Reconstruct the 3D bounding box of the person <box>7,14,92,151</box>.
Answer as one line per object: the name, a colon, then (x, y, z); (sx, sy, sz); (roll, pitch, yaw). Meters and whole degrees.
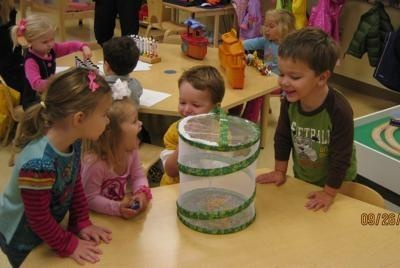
person: (-1.417, -0.591, 3.211); (0.646, 0.998, 0.689); (20, 39, 5)
